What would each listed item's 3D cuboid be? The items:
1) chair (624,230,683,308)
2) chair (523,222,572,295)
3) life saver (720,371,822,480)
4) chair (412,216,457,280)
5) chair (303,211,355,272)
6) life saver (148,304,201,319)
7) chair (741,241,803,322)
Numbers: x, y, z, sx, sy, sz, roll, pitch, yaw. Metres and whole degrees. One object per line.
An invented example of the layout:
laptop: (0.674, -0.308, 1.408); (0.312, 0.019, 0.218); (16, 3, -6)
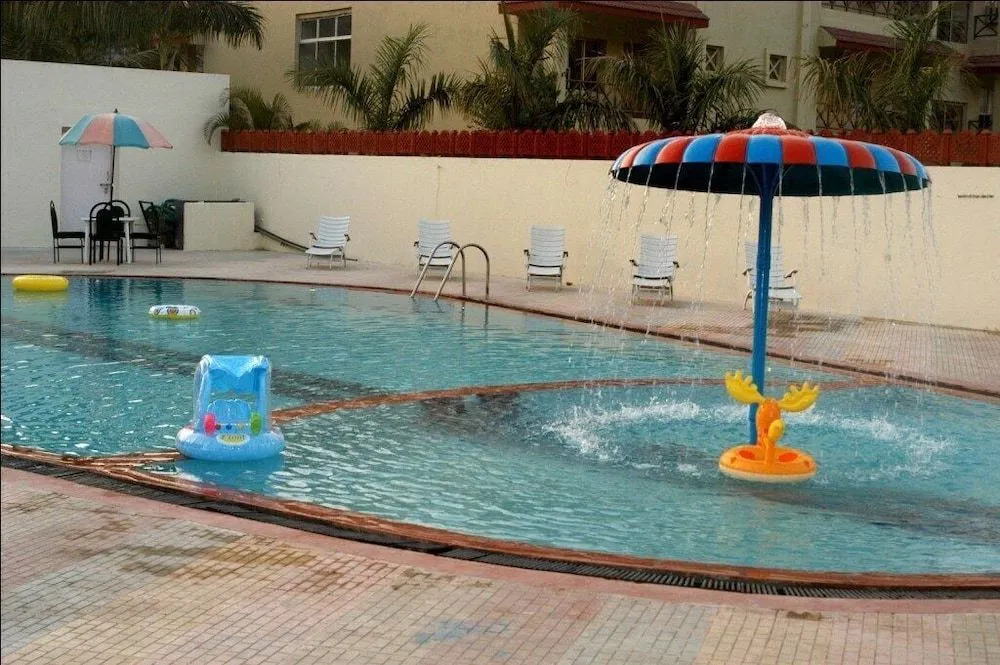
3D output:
chair: (2.991, -1.228, 15.170); (0.867, 1.109, 1.159); (9, 34, 30)
chair: (1.017, -1.608, 17.052); (1.017, 1.180, 1.105); (3, -9, 8)
life saver: (2.360, 0.795, 6.834); (0.818, 0.872, 0.748); (6, 9, 22)
chair: (-1.464, -1.931, 17.971); (0.882, 1.141, 1.138); (2, 5, -5)
chair: (-4.304, -2.442, 20.131); (0.893, 1.040, 1.137); (7, -5, -9)
life saver: (-5.292, -0.330, 12.816); (0.744, 0.173, 0.338); (0, 9, -20)
chair: (4.977, -0.979, 14.516); (0.962, 1.214, 1.275); (1, 2, 3)
